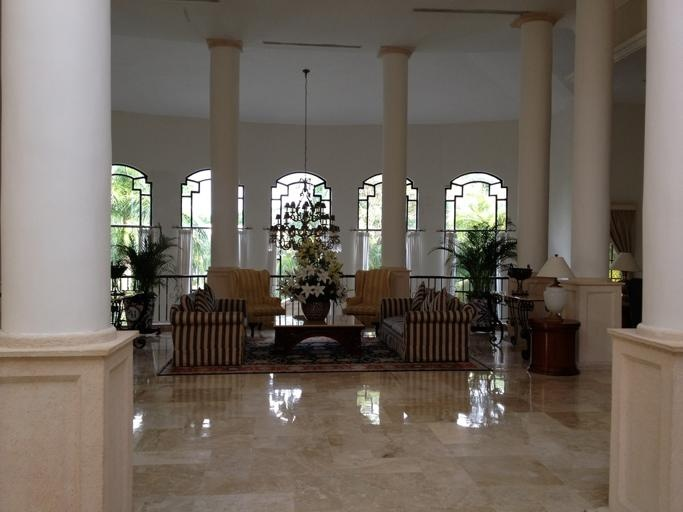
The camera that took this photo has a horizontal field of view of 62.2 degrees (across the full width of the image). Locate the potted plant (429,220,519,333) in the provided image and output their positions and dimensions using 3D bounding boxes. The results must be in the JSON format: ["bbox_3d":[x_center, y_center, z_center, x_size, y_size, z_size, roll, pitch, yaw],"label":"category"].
[{"bbox_3d":[2.926,0.327,11.954,2.148,2.660,1.752,6,9,44],"label":"potted plant"}]

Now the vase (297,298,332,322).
[{"bbox_3d":[-0.423,0.853,8.819,0.348,0.285,0.363,4,-10,-31],"label":"vase"}]

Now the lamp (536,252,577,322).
[{"bbox_3d":[2.944,0.409,7.751,0.434,0.835,0.812,1,2,23],"label":"lamp"}]

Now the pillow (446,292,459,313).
[{"bbox_3d":[1.644,0.675,8.342,0.154,0.220,0.176,1,-13,0],"label":"pillow"}]

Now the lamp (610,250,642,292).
[{"bbox_3d":[5.998,0.249,11.897,0.495,0.692,2.579,1,2,26],"label":"lamp"}]

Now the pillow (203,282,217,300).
[{"bbox_3d":[-2.204,0.577,9.503,0.087,0.299,0.157,-11,3,-2],"label":"pillow"}]

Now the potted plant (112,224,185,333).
[{"bbox_3d":[-3.733,0.558,10.599,0.894,1.621,0.940,3,-6,4],"label":"potted plant"}]

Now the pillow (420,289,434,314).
[{"bbox_3d":[1.336,0.669,8.711,0.099,0.281,0.260,11,-5,-3],"label":"pillow"}]

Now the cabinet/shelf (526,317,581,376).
[{"bbox_3d":[2.793,1.192,7.652,0.664,0.725,0.669,1,-3,2],"label":"cabinet/shelf"}]

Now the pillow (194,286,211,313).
[{"bbox_3d":[-2.035,0.646,8.295,0.092,0.304,0.283,-7,-5,15],"label":"pillow"}]

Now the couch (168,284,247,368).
[{"bbox_3d":[-1.878,0.976,8.173,0.972,0.947,1.382,0,2,-11],"label":"couch"}]

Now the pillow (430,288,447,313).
[{"bbox_3d":[1.450,0.664,8.445,0.096,0.278,0.245,13,-10,-17],"label":"pillow"}]

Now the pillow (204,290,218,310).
[{"bbox_3d":[-2.025,0.677,8.738,0.076,0.207,0.307,-13,4,1],"label":"pillow"}]

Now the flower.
[{"bbox_3d":[-0.386,0.243,8.970,0.804,1.020,0.744,2,7,7],"label":"flower"}]

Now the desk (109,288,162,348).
[{"bbox_3d":[-3.695,1.007,10.211,0.824,0.848,2.608,-1,2,-22],"label":"desk"}]

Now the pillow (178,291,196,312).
[{"bbox_3d":[-2.157,0.633,7.893,0.277,0.317,0.120,2,3,6],"label":"pillow"}]
